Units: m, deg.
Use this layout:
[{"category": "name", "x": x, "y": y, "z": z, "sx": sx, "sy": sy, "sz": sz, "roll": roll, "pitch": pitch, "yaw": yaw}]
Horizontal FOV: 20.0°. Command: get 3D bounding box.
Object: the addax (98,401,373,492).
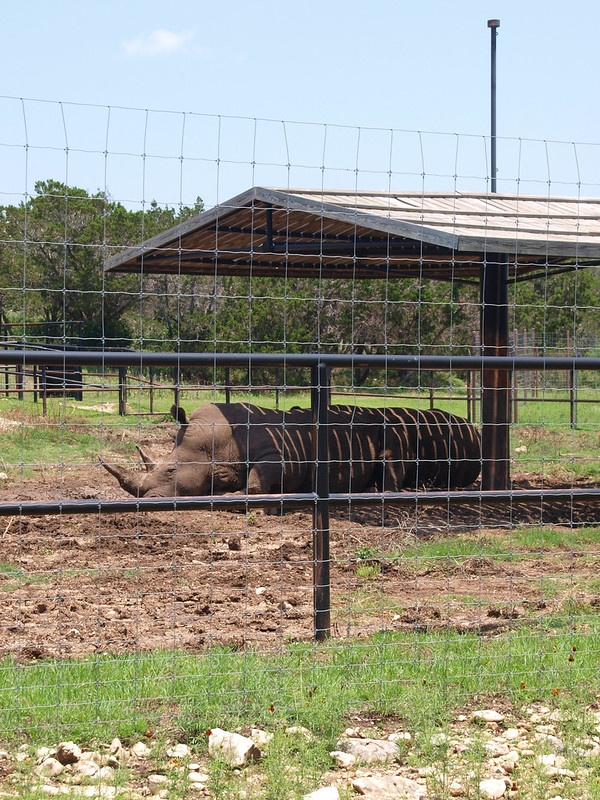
[{"category": "addax", "x": -0.511, "y": 0.527, "z": 15.579, "sx": 2.322, "sy": 1.037, "sz": 0.802, "roll": -9, "pitch": 9, "yaw": -35}]
